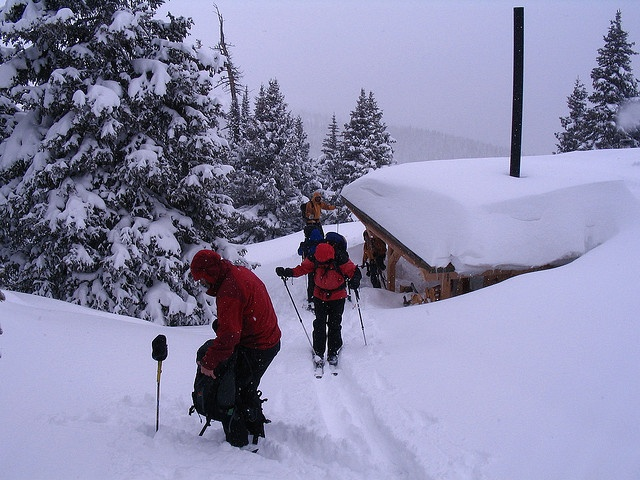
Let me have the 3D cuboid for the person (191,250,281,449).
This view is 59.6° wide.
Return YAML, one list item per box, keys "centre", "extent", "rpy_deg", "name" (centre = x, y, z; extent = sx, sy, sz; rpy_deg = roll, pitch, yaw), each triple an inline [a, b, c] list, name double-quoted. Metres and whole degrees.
- centre: [-1.365, 1.763, 8.965]
  extent: [1.333, 3.238, 0.654]
  rpy_deg: [0, 2, -11]
  name: "person"

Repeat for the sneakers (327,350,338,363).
- centre: [0.261, 2.360, 11.233]
  extent: [0.164, 0.235, 0.224]
  rpy_deg: [1, -17, -1]
  name: "sneakers"

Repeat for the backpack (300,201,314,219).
- centre: [-0.372, -0.872, 16.609]
  extent: [0.435, 0.564, 0.359]
  rpy_deg: [0, -2, -2]
  name: "backpack"

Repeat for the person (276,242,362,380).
- centre: [0.175, 1.331, 11.115]
  extent: [1.190, 2.518, 0.523]
  rpy_deg: [0, 2, -4]
  name: "person"

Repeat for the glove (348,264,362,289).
- centre: [0.698, 0.736, 11.261]
  extent: [0.291, 0.479, 0.170]
  rpy_deg: [-2, -4, 27]
  name: "glove"

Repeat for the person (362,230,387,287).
- centre: [1.745, 0.581, 17.530]
  extent: [0.629, 1.761, 1.151]
  rpy_deg: [1, 2, 5]
  name: "person"
